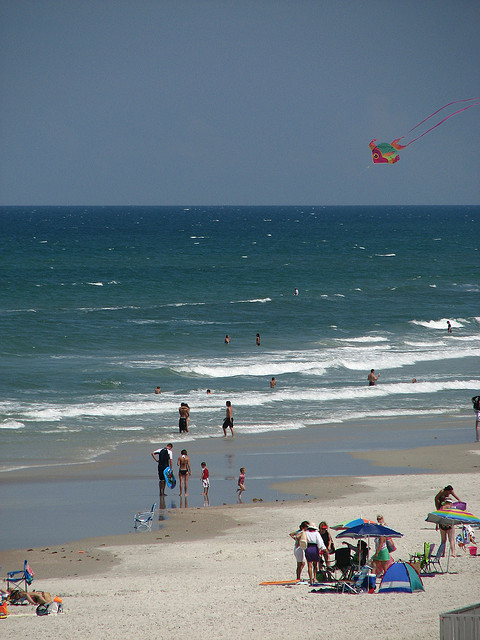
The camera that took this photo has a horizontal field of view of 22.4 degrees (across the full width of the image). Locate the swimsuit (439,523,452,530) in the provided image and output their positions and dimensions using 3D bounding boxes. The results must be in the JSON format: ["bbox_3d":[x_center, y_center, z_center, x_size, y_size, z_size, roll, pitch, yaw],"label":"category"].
[{"bbox_3d":[3.174,3.194,18.716,0.116,0.060,0.155,2,-13,-3],"label":"swimsuit"}]

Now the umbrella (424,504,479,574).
[{"bbox_3d":[3.231,3.331,18.834,0.797,0.913,0.780,3,-13,-3],"label":"umbrella"}]

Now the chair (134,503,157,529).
[{"bbox_3d":[-1.753,3.673,22.320,0.355,0.445,0.319,1,-6,-3],"label":"chair"}]

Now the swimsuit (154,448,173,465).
[{"bbox_3d":[-1.590,2.838,25.333,0.338,0.358,0.263,-1,4,10],"label":"swimsuit"}]

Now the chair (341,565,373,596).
[{"bbox_3d":[1.662,3.731,17.281,0.356,0.483,0.331,3,-3,-7],"label":"chair"}]

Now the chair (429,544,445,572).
[{"bbox_3d":[2.909,3.566,18.054,0.304,0.435,0.261,-2,-2,38],"label":"chair"}]

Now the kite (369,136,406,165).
[{"bbox_3d":[2.519,-2.943,21.166,0.484,0.324,0.449,-1,4,7],"label":"kite"}]

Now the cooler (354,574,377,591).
[{"bbox_3d":[1.804,3.751,17.318,0.204,0.200,0.204,-1,2,3],"label":"cooler"}]

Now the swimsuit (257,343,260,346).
[{"bbox_3d":[0.796,1.030,52.251,0.092,0.164,0.089,0,-8,0],"label":"swimsuit"}]

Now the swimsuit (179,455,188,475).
[{"bbox_3d":[-1.160,2.994,24.996,0.261,0.372,0.137,1,-20,0],"label":"swimsuit"}]

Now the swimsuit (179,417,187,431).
[{"bbox_3d":[-1.499,2.776,32.337,0.172,0.347,0.178,-1,4,8],"label":"swimsuit"}]

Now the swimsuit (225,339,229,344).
[{"bbox_3d":[-0.565,0.927,52.329,0.211,0.219,0.160,-1,8,-13],"label":"swimsuit"}]

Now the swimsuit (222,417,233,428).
[{"bbox_3d":[-0.316,2.695,31.550,0.339,0.336,0.195,4,9,-6],"label":"swimsuit"}]

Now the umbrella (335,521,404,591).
[{"bbox_3d":[1.892,3.535,17.783,0.953,1.057,0.983,13,-19,-38],"label":"umbrella"}]

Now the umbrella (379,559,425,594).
[{"bbox_3d":[2.259,3.618,16.967,0.636,0.424,0.261,1,4,29],"label":"umbrella"}]

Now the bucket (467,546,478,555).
[{"bbox_3d":[3.596,3.579,18.785,0.082,0.099,0.103,2,-9,-24],"label":"bucket"}]

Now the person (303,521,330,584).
[{"bbox_3d":[1.105,3.434,17.790,0.353,0.822,0.553,-1,4,5],"label":"person"}]

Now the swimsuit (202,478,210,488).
[{"bbox_3d":[-0.687,3.330,24.661,0.194,0.265,0.176,2,-13,-7],"label":"swimsuit"}]
